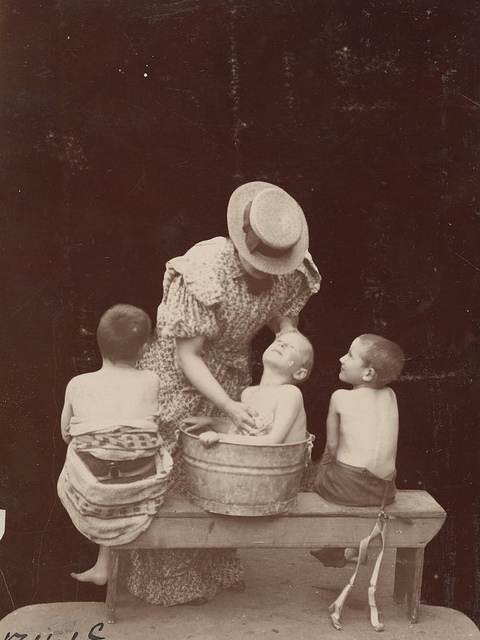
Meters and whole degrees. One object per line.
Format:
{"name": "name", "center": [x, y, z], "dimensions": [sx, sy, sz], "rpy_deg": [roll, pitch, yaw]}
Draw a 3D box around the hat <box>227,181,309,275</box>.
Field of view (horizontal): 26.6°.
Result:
{"name": "hat", "center": [0.109, -0.402, 4.187], "dimensions": [0.362, 0.322, 0.306], "rpy_deg": [29, 34, 31]}
